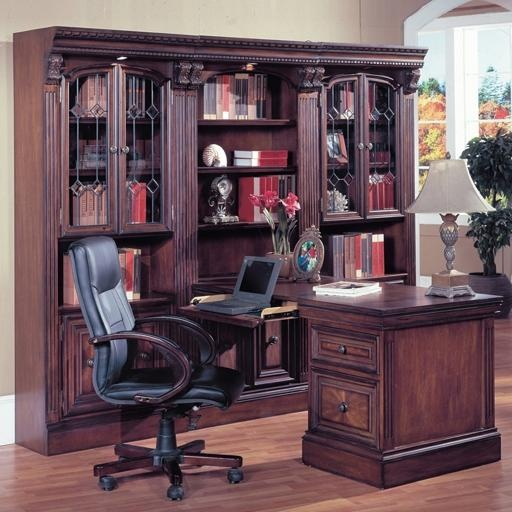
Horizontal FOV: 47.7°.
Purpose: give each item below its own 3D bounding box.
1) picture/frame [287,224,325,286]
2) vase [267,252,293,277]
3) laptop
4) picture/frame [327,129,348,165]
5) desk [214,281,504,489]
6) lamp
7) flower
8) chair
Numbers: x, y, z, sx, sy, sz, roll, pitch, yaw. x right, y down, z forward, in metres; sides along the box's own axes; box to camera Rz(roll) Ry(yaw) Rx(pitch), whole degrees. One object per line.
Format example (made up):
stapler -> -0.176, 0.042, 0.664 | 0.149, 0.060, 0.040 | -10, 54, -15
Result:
picture/frame -> 0.287, -0.002, 3.404 | 0.063, 0.485, 0.319 | 0, 4, -40
vase -> 0.128, 0.066, 3.438 | 0.127, 0.116, 0.105 | 1, 4, 3
laptop -> -0.094, 0.141, 2.960 | 0.399, 0.252, 0.426 | -1, 4, 25
picture/frame -> 0.550, -0.762, 4.020 | 0.169, 0.234, 0.012 | 11, 32, 42
desk -> 0.664, 0.614, 2.841 | 0.702, 0.753, 0.793 | -1, -5, -22
lamp -> 0.940, -0.149, 2.776 | 0.403, 0.688, 0.406 | -2, -1, 16
flower -> 0.115, -0.217, 3.740 | 0.359, 0.480, 0.374 | -1, 2, -9
chair -> -0.420, 0.477, 2.578 | 0.694, 1.078, 0.637 | -2, 0, 6
